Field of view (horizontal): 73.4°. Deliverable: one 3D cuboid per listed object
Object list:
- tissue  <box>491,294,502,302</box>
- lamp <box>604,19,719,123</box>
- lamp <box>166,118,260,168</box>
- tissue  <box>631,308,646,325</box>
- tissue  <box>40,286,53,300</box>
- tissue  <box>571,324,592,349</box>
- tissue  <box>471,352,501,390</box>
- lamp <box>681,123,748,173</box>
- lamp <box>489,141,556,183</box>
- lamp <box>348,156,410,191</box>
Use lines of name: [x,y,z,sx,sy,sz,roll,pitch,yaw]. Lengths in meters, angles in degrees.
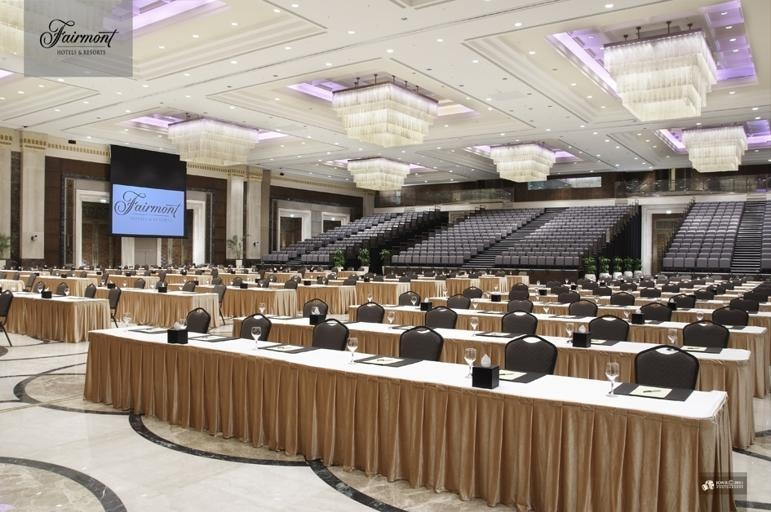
tissue : [2.109,0.794,9.856,0.133,0.144,0.231,1,-2,-29]
lamp: [6.518,-4.309,12.136,2.102,1.196,2.325,-1,2,33]
lamp: [-6.033,-3.804,17.567,1.736,1.078,2.575,2,1,42]
tissue : [3.276,0.786,6.762,0.211,0.174,0.197,1,4,19]
tissue : [-6.998,0.761,10.665,0.256,0.273,0.413,3,-8,-31]
tissue : [2.216,0.912,5.830,0.194,0.243,0.192,-3,4,-42]
tissue : [0.770,0.898,4.048,0.220,0.248,0.177,1,4,15]
lamp: [11.603,-3.830,18.357,2.088,1.361,1.241,0,3,10]
lamp: [5.670,-3.772,20.916,1.658,1.360,3.339,0,1,34]
lamp: [-0.386,-3.712,23.087,2.521,1.359,1.142,0,4,-3]
